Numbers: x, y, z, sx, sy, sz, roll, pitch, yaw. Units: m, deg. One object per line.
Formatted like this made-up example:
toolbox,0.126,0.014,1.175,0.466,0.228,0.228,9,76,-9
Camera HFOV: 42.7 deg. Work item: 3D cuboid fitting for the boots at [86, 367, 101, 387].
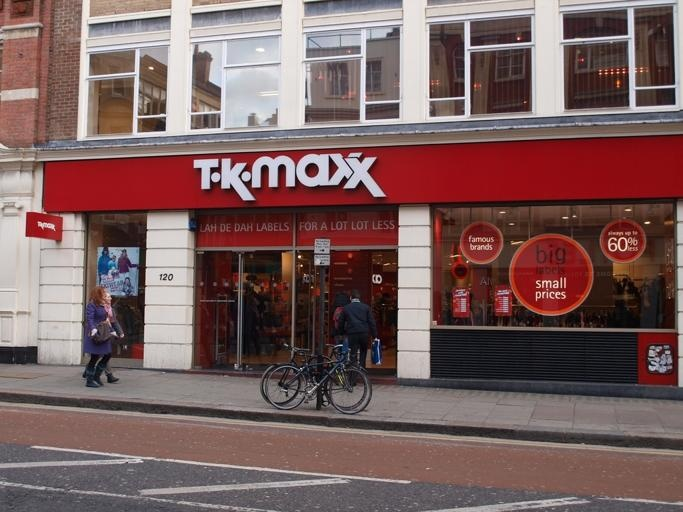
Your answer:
boots,-5.456,2.682,19.213,0.370,0.400,0.299,3,-5,-19

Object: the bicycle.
bicycle,-0.479,2.505,17.438,2.213,1.183,0.443,0,-5,13

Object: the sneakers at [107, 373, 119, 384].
sneakers,-5.235,2.791,19.856,0.350,0.275,0.134,-6,-9,25

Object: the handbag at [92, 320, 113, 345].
handbag,-5.247,1.667,19.157,0.421,0.438,0.170,10,-13,-3

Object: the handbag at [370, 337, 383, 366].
handbag,0.764,1.990,18.443,0.163,0.509,0.425,2,-5,-4

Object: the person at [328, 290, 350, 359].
person,-0.010,1.684,19.193,0.322,1.107,0.313,-1,10,-7

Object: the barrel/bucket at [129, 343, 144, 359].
barrel/bucket,-5.310,2.436,22.584,0.380,0.396,0.387,1,1,0
